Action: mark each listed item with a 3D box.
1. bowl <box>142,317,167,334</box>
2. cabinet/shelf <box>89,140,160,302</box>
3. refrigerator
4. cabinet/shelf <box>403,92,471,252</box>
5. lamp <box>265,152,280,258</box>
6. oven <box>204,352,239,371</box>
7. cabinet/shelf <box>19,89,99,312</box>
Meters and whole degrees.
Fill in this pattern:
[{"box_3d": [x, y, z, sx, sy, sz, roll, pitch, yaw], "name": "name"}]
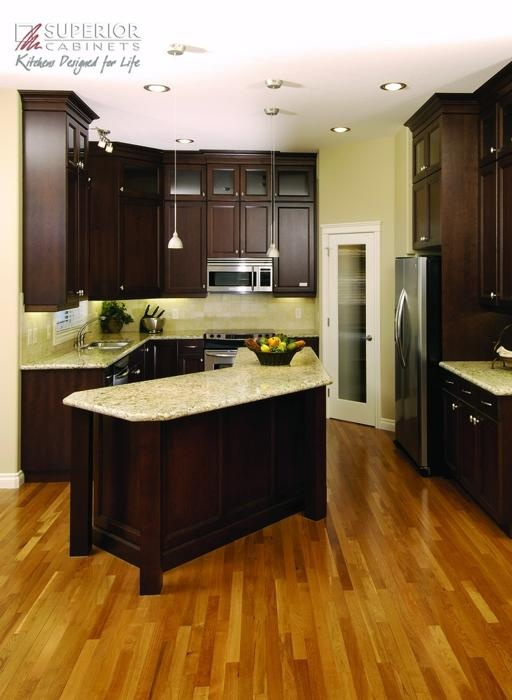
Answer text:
[{"box_3d": [-1.213, -0.283, 6.199, 0.188, 0.169, 0.198, 2, 2, 0], "name": "bowl"}, {"box_3d": [-1.398, -1.341, 5.818, 0.485, 1.584, 0.739, 7, 10, 27], "name": "cabinet/shelf"}, {"box_3d": [1.280, 0.101, 4.223, 0.250, 1.659, 0.638, -1, 8, 4], "name": "refrigerator"}, {"box_3d": [1.410, -1.391, 4.116, 0.301, 1.413, 1.015, 0, 7, 2], "name": "cabinet/shelf"}, {"box_3d": [0.195, -1.659, 5.913, 0.111, 1.080, 0.174, -5, 9, -22], "name": "lamp"}, {"box_3d": [-0.415, 0.106, 5.869, 0.304, 0.369, 0.225, 0, -1, 4], "name": "oven"}, {"box_3d": [-1.524, -1.103, 4.183, 0.305, 1.506, 0.813, 2, 8, -6], "name": "cabinet/shelf"}]
